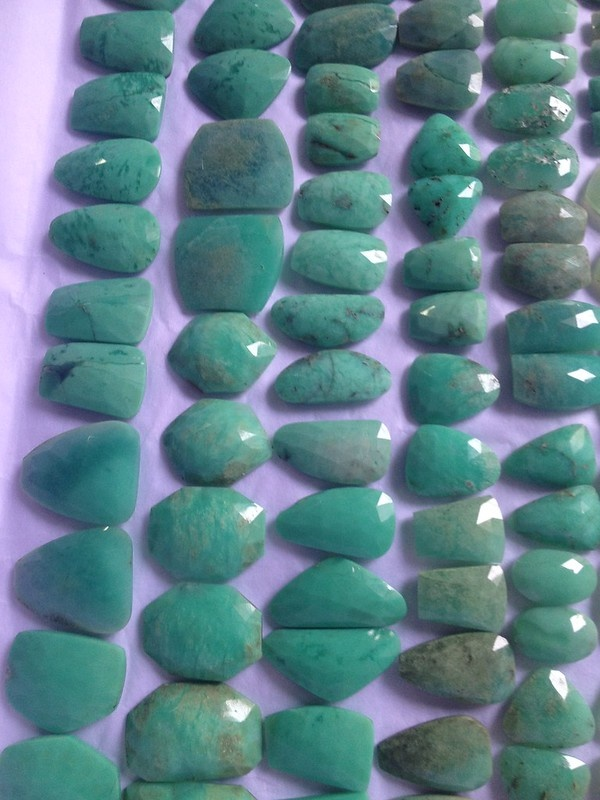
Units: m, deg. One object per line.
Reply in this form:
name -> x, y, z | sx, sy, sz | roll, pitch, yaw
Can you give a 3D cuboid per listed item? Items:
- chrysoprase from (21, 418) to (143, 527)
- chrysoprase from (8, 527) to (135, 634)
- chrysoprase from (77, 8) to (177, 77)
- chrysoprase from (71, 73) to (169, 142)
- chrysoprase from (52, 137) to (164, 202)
chrysoprase -> -0.222, 0.077, 0.886 | 0.148, 0.043, 0.110 | -11, 68, 5
chrysoprase -> -0.228, 0.179, 0.875 | 0.146, 0.042, 0.110 | -16, 61, 4
chrysoprase -> -0.200, -0.390, 0.937 | 0.122, 0.072, 0.035 | -13, 55, -38
chrysoprase -> -0.192, -0.316, 0.927 | 0.116, 0.072, 0.025 | 8, 14, 13
chrysoprase -> -0.227, -0.258, 0.981 | 0.115, 0.050, 0.177 | 1, 0, -11
